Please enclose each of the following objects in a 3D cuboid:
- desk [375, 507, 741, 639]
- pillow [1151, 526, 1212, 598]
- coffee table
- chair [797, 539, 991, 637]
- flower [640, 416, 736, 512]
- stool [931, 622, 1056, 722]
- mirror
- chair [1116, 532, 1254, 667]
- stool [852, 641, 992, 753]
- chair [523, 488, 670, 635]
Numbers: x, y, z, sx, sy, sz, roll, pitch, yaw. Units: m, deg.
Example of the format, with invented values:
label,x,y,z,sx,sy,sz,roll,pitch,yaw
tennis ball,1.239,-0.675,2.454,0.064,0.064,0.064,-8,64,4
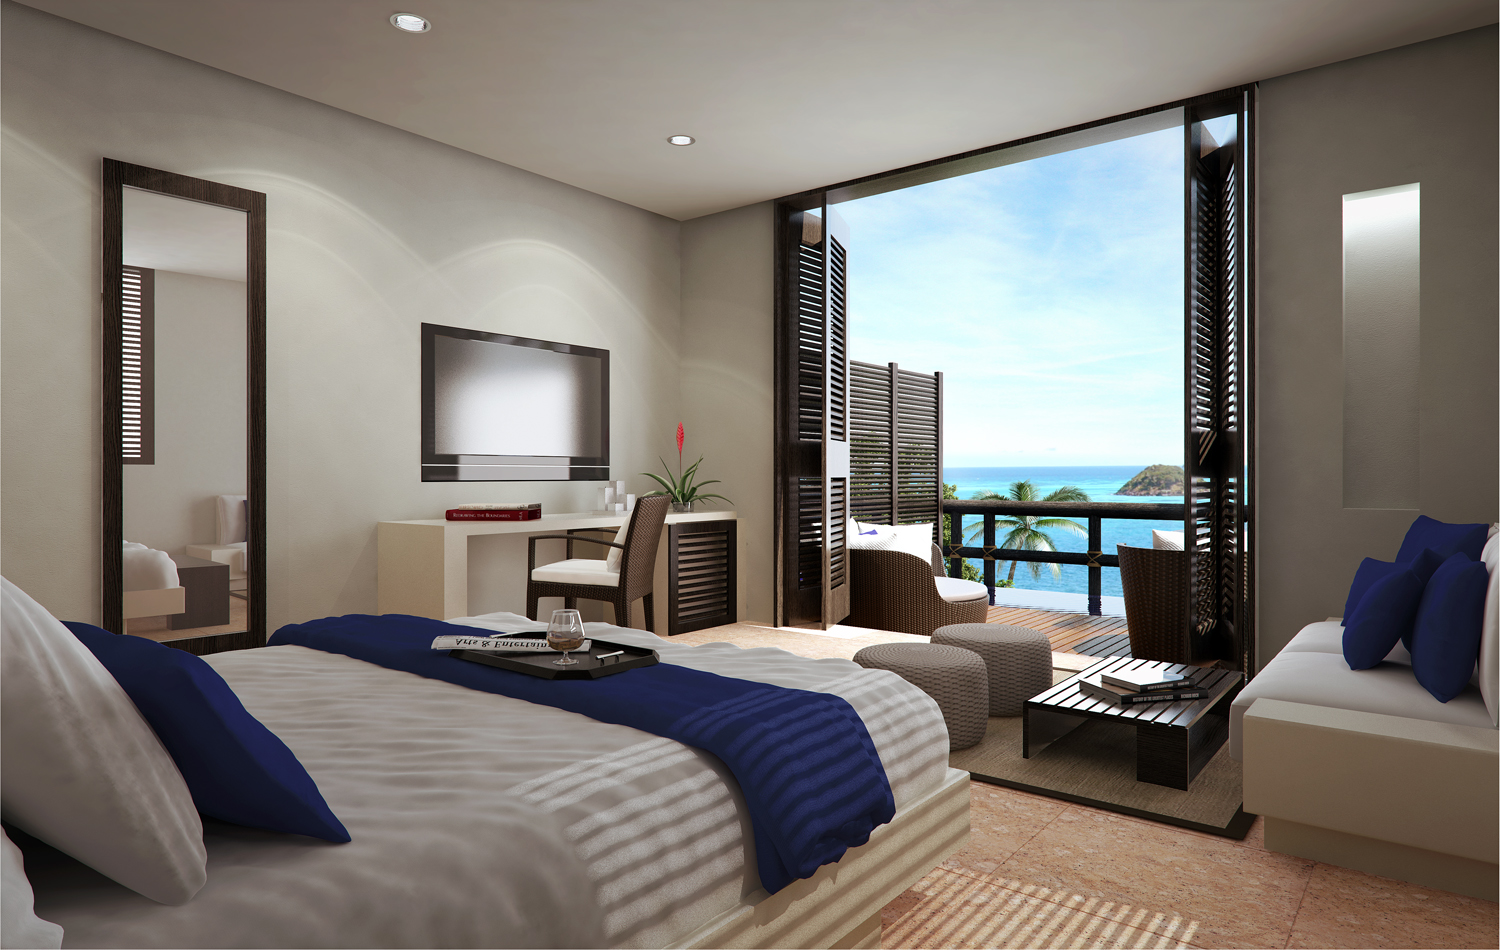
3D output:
label,x,y,z,sx,sy,sz,roll,pitch,yaw
desk,-0.750,0.772,7.171,2.199,0.863,0.685,-8,-11,36
pillow,2.495,0.486,5.647,0.338,0.288,0.258,-3,-4,40
coffee table,1.656,1.092,4.340,0.554,0.169,0.798,-2,0,37
chair,1.194,0.791,6.927,1.051,0.579,0.756,5,7,24
flower,-0.491,-0.027,7.153,0.733,0.572,0.801,0,-2,0
stool,1.245,0.984,4.873,0.512,0.289,0.496,-1,-1,6
mirror,-2.915,-0.241,5.040,0.836,2.772,0.082,1,2,-7
chair,2.618,0.835,5.759,0.745,0.651,0.796,11,-7,-3
stool,0.800,1.014,4.491,0.582,0.333,0.566,-2,-1,9
chair,-0.945,0.585,6.095,0.720,0.924,0.617,2,3,10
